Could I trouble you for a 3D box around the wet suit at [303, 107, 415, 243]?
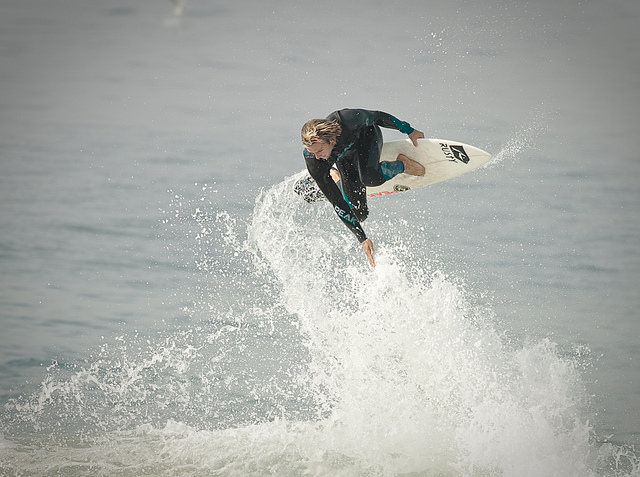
[{"bbox_3d":[0.279,-0.433,7.167,1.039,0.723,0.635,26,42,-45],"label":"wet suit"}]
